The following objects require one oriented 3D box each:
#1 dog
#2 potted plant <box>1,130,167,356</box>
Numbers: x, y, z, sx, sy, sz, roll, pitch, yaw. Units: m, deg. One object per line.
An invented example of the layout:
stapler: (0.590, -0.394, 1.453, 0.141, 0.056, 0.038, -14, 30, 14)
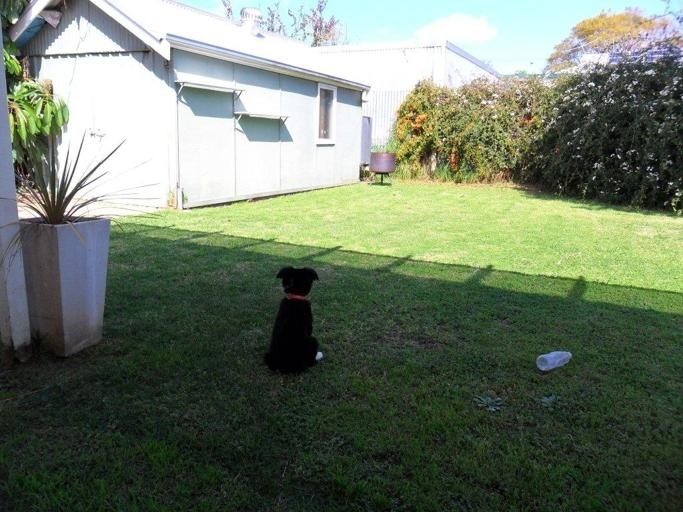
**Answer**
dog: (-0.377, 0.498, 3.916, 0.358, 0.759, 0.513, 11, 16, 36)
potted plant: (-2.235, -0.014, 3.841, 0.686, 1.539, 0.518, -1, 13, -11)
